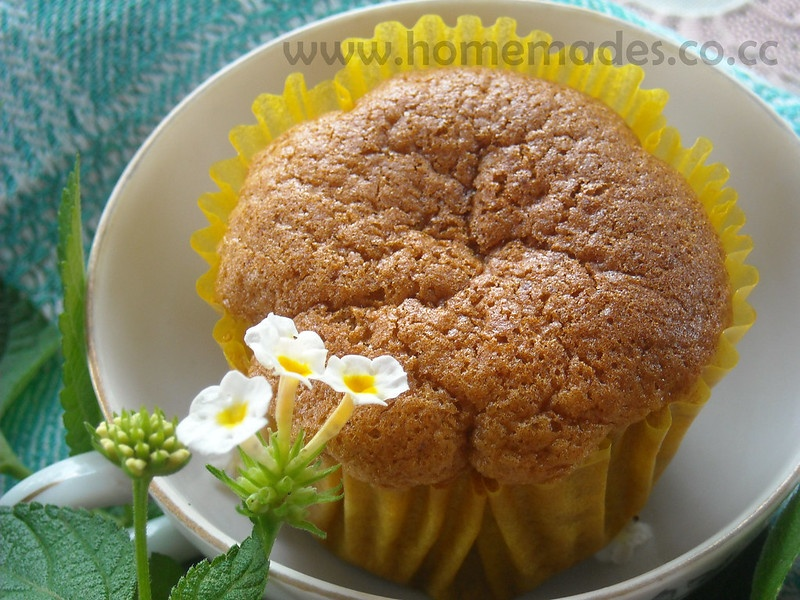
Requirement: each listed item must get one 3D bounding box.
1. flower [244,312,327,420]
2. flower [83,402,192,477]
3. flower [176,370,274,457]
[{"bbox_3d":[-0.155,0.072,1.078,0.117,0.177,0.121,-5,64,-18],"label":"flower"},{"bbox_3d":[-0.342,0.184,1.055,0.105,0.060,0.103,-26,60,-20],"label":"flower"},{"bbox_3d":[-0.211,0.140,0.972,0.104,0.030,0.102,-15,44,14],"label":"flower"}]
